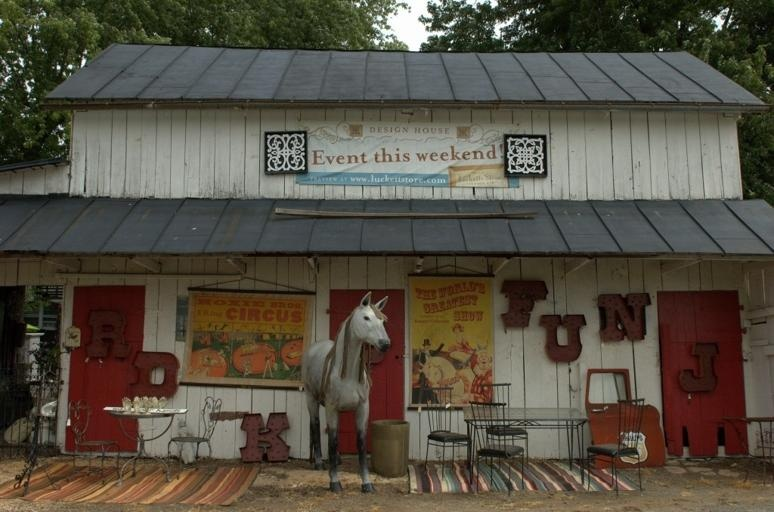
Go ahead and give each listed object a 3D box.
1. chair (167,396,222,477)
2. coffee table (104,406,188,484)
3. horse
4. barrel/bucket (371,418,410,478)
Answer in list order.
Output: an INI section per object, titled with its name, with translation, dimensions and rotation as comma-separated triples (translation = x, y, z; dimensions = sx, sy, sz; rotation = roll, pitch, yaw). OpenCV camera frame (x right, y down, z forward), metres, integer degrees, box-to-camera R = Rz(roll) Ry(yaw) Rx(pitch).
[chair]
translation = -4.330, 4.000, 19.415
dimensions = 1.372, 2.238, 1.146
rotation = 10, -11, -40
[coffee table]
translation = -5.500, 3.908, 18.745
dimensions = 1.628, 1.891, 1.857
rotation = 3, 5, -7
[horse]
translation = -0.915, 2.800, 18.155
dimensions = 1.384, 4.196, 2.390
rotation = -10, 17, -35
[barrel/bucket]
translation = 0.083, 4.258, 18.835
dimensions = 0.799, 1.156, 0.788
rotation = 0, -6, 0
